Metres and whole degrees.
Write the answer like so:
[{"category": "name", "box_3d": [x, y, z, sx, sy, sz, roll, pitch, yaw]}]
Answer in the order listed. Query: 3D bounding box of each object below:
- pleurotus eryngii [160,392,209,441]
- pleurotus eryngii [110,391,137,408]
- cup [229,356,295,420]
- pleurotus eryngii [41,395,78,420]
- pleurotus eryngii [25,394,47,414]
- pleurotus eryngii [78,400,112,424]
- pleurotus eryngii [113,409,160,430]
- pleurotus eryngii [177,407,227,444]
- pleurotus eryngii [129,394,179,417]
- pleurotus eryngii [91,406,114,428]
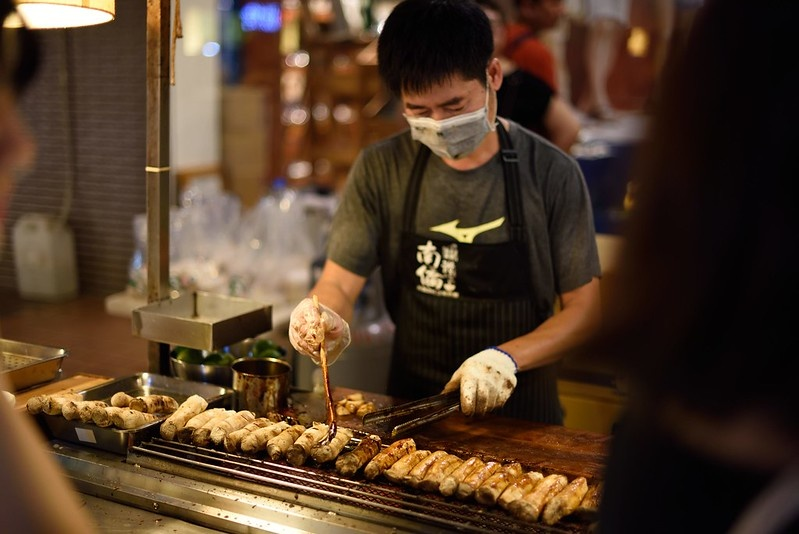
[{"category": "pleurotus eryngii", "box_3d": [-0.925, 0.639, 3.295, 0.075, 0.068, 0.241, -1, 13, 16]}, {"category": "pleurotus eryngii", "box_3d": [-1.206, 0.567, 3.339, 0.061, 0.035, 0.078, 10, 3, 37]}, {"category": "cup", "box_3d": [-0.661, 0.538, 3.587, 0.248, 0.267, 0.243, 0, 4, 0]}, {"category": "pleurotus eryngii", "box_3d": [-1.439, 0.595, 3.268, 0.100, 0.045, 0.081, 0, 8, 19]}, {"category": "pleurotus eryngii", "box_3d": [-1.539, 0.584, 3.302, 0.091, 0.070, 0.043, -32, -8, -4]}, {"category": "pleurotus eryngii", "box_3d": [-1.274, 0.586, 3.209, 0.085, 0.036, 0.088, 4, 27, 9]}, {"category": "pleurotus eryngii", "box_3d": [-1.096, 0.635, 3.225, 0.064, 0.058, 0.153, 10, -3, 39]}, {"category": "pleurotus eryngii", "box_3d": [-0.837, 0.653, 3.229, 0.074, 0.069, 0.238, -4, 8, 14]}, {"category": "pleurotus eryngii", "box_3d": [-1.097, 0.614, 3.427, 0.088, 0.066, 0.185, 12, -3, 38]}, {"category": "pleurotus eryngii", "box_3d": [-1.216, 0.613, 3.152, 0.068, 0.079, 0.089, -3, -1, -2]}]
